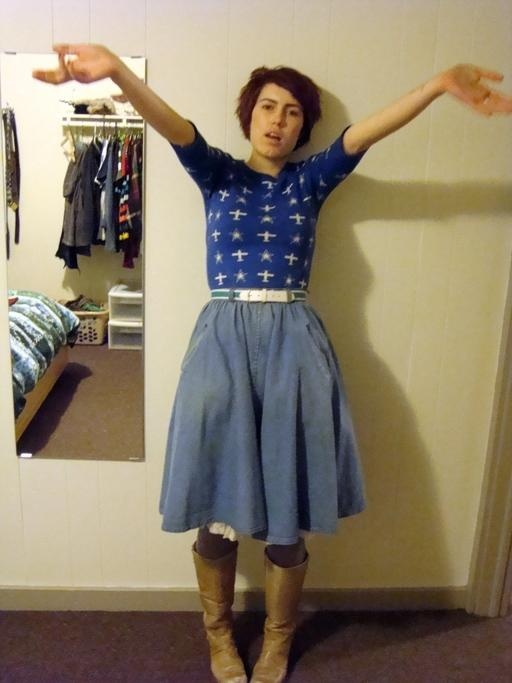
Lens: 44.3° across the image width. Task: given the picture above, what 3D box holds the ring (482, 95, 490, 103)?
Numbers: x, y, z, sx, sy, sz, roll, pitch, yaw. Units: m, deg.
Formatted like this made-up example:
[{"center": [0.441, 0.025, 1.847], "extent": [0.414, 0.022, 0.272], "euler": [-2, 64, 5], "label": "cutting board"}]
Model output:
[{"center": [0.461, -0.480, 1.244], "extent": [0.011, 0.015, 0.004], "euler": [2, -3, -9], "label": "ring"}]

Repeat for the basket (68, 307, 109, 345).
[{"center": [-0.430, -0.033, 1.603], "extent": [0.094, 0.061, 0.070], "euler": [-1, 10, -7], "label": "basket"}]

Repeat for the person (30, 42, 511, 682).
[{"center": [-0.005, -0.088, 1.379], "extent": [0.865, 1.030, 0.448], "euler": [-2, 14, -19], "label": "person"}]
